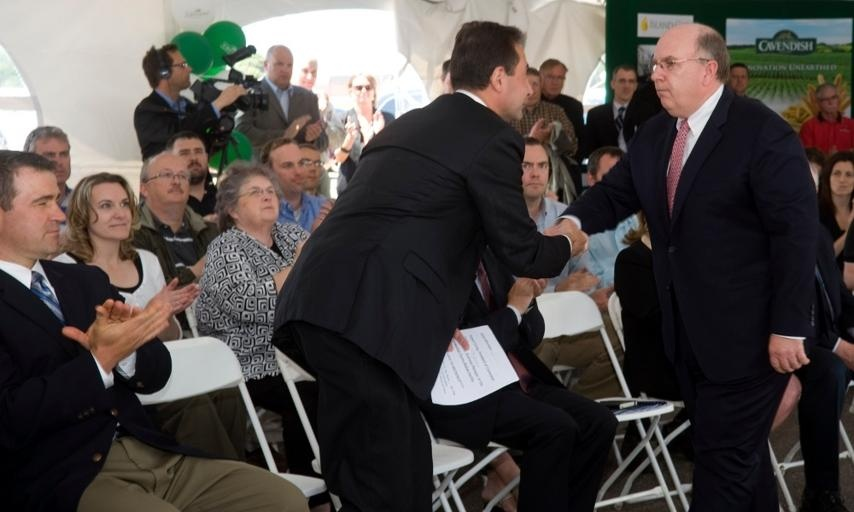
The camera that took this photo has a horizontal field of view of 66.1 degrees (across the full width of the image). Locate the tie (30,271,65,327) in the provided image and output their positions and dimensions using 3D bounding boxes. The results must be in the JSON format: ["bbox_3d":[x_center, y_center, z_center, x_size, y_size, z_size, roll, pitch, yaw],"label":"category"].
[{"bbox_3d":[-1.822,0.213,3.148,0.050,0.255,0.065,-31,5,-37],"label":"tie"}]

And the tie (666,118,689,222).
[{"bbox_3d":[1.378,-0.477,3.640,0.089,0.562,0.064,12,-7,-27],"label":"tie"}]

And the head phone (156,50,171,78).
[{"bbox_3d":[-2.658,-1.946,6.641,0.108,0.293,0.230,-1,-10,-1],"label":"head phone"}]
